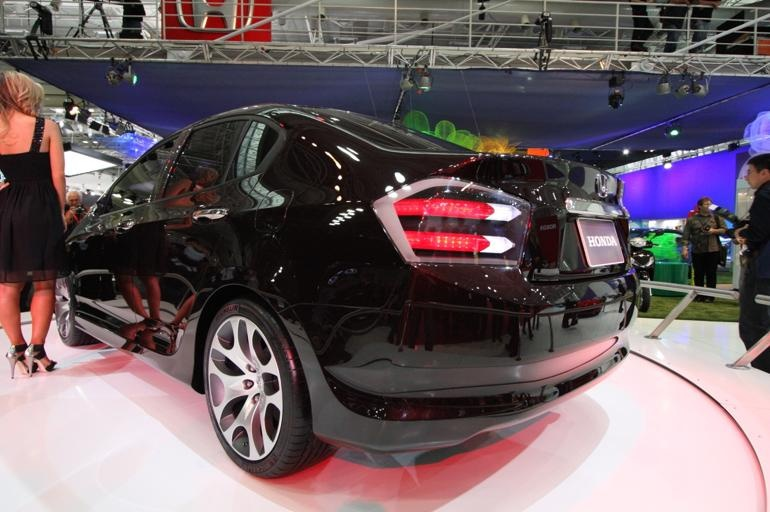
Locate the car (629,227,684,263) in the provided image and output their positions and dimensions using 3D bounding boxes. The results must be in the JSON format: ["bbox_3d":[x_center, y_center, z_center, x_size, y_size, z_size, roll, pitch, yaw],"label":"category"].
[{"bbox_3d":[6.327,-0.330,10.833,1.274,0.697,1.847,0,2,40],"label":"car"}]

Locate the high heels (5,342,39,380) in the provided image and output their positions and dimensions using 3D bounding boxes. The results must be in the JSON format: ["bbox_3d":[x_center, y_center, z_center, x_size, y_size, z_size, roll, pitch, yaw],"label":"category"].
[{"bbox_3d":[-2.730,0.797,3.378,0.139,0.190,0.392,3,4,-7],"label":"high heels"}]

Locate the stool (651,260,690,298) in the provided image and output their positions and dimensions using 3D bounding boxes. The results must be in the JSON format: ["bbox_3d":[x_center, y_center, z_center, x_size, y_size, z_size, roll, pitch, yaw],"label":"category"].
[{"bbox_3d":[5.511,0.374,8.769,0.521,0.392,0.492,1,-3,-34],"label":"stool"}]

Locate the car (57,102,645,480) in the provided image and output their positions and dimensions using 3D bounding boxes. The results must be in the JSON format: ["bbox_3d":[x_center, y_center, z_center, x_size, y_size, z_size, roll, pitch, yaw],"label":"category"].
[{"bbox_3d":[-0.878,-0.044,4.739,6.563,1.946,3.286,3,6,45],"label":"car"}]

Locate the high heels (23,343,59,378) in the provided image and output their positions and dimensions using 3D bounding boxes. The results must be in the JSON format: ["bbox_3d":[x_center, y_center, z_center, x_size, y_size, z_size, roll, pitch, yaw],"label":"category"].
[{"bbox_3d":[-2.663,0.798,3.502,0.141,0.208,0.314,6,5,15],"label":"high heels"}]
